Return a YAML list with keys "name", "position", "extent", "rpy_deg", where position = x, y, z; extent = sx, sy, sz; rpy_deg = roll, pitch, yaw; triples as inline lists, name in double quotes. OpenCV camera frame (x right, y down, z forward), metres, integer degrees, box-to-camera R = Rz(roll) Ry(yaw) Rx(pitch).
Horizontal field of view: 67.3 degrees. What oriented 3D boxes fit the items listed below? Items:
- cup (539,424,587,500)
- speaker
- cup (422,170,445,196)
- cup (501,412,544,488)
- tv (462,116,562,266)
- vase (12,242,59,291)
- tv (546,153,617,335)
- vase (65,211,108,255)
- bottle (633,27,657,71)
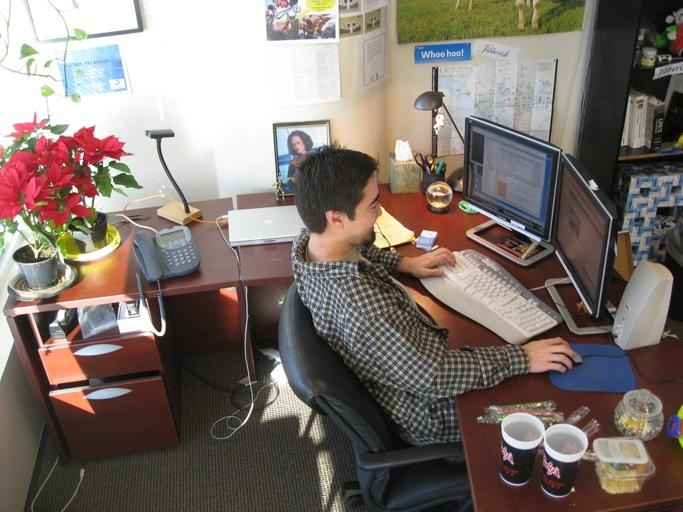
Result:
- name: "cup"
  position: [0.614, 0.574, 1.418]
  extent: [0.105, 0.165, 0.106]
  rpy_deg: [0, 30, 0]
- name: "speaker"
  position: [1.046, 0.180, 1.786]
  extent: [0.148, 0.300, 0.151]
  rpy_deg: [0, 39, 6]
- name: "cup"
  position: [0.476, -0.389, 2.644]
  extent: [0.105, 0.112, 0.108]
  rpy_deg: [0, 37, 0]
- name: "cup"
  position: [0.520, 0.544, 1.477]
  extent: [0.114, 0.180, 0.164]
  rpy_deg: [2, 25, 21]
- name: "tv"
  position: [0.730, -0.252, 2.226]
  extent: [0.191, 0.527, 0.483]
  rpy_deg: [-28, 48, -20]
- name: "vase"
  position: [-1.253, 0.018, 2.131]
  extent: [0.175, 0.146, 0.166]
  rpy_deg: [29, 41, 30]
- name: "tv"
  position: [0.880, -0.015, 1.905]
  extent: [0.201, 0.470, 0.524]
  rpy_deg: [-9, 43, 5]
- name: "vase"
  position: [-1.113, -0.092, 2.248]
  extent: [0.152, 0.140, 0.179]
  rpy_deg: [-11, 44, -17]
- name: "bottle"
  position: [1.692, -1.161, 2.830]
  extent: [0.107, 0.209, 0.145]
  rpy_deg: [7, 27, 30]
